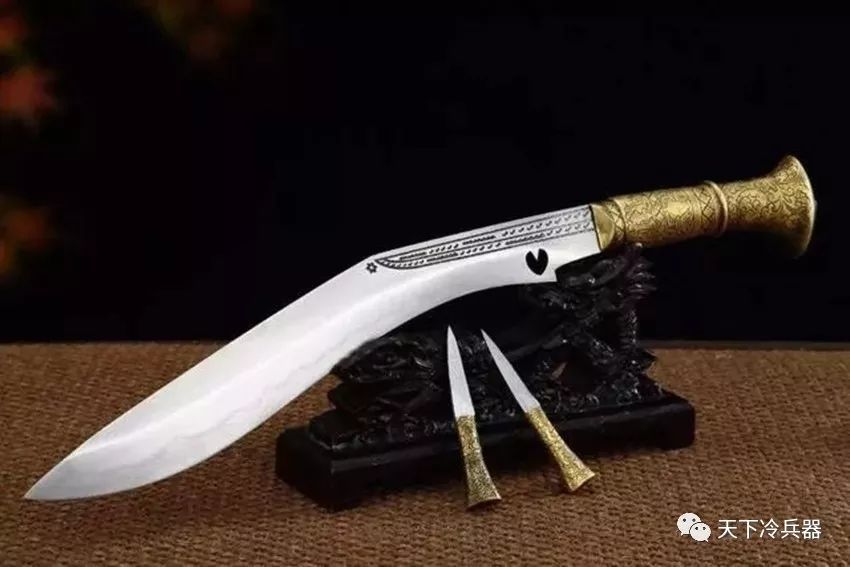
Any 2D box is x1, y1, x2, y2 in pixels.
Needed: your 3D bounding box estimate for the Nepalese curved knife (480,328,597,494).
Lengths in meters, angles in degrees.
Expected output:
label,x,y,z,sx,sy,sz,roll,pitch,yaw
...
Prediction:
label,x,y,z,sx,sy,sz,roll,pitch,yaw
Nepalese curved knife,0.265,0.315,1.838,0.114,0.050,0.535,-32,70,8
